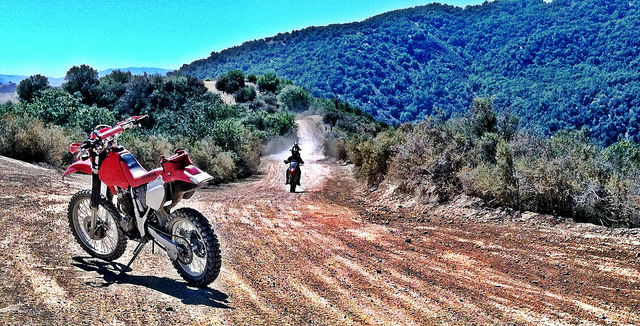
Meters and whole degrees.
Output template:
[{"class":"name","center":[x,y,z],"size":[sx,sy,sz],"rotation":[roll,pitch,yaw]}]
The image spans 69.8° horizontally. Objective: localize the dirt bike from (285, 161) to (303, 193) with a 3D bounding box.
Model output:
[{"class":"dirt bike","center":[-1.675,0.807,29.142],"size":[0.714,1.845,1.126],"rotation":[2,9,-3]}]

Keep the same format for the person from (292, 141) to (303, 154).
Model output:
[{"class":"person","center":[-1.435,-1.093,29.953],"size":[0.726,0.677,1.288],"rotation":[2,1,-2]}]

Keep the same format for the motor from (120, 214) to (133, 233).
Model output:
[{"class":"motor","center":[-6.984,2.207,16.635],"size":[0.305,0.546,0.385],"rotation":[-19,61,-37]}]
